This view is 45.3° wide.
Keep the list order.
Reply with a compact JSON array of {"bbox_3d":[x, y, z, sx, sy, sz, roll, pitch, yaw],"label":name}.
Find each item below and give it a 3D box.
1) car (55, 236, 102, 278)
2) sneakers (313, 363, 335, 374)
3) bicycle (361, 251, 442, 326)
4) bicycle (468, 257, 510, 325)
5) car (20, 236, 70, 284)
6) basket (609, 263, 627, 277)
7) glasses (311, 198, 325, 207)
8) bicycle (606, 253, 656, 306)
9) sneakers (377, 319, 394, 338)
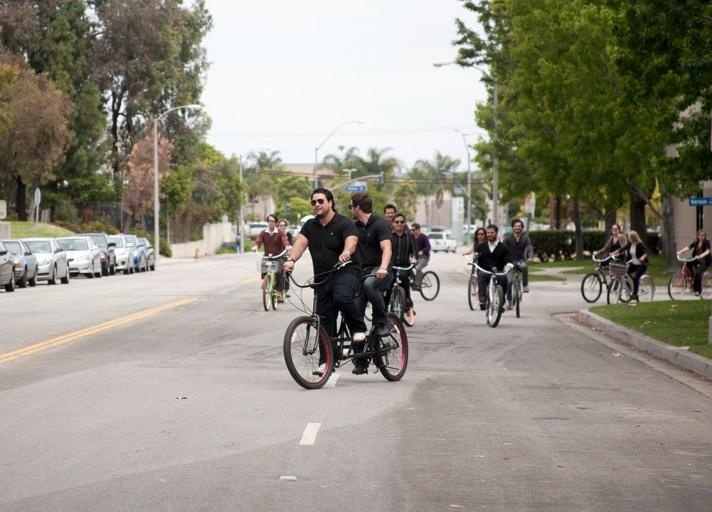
[{"bbox_3d":[-11.825,0.049,36.877,1.038,1.043,2.301,-1,-7,1],"label":"car"},{"bbox_3d":[-0.415,1.476,11.040,0.297,0.148,0.066,1,0,-36],"label":"sneakers"},{"bbox_3d":[0.987,0.849,19.976,1.059,1.481,2.258,-7,0,19],"label":"bicycle"},{"bbox_3d":[3.040,0.874,18.889,0.762,0.977,1.562,2,-1,-7],"label":"bicycle"},{"bbox_3d":[-11.880,0.145,32.810,1.081,0.974,2.130,-2,-7,2],"label":"car"},{"bbox_3d":[7.109,0.397,23.041,0.263,0.284,0.615,0,-1,-15],"label":"basket"},{"bbox_3d":[-0.519,-0.672,10.964,0.204,0.081,0.209,0,-1,22],"label":"glasses"},{"bbox_3d":[7.572,0.834,23.583,1.588,1.057,0.770,6,-6,-44],"label":"bicycle"},{"bbox_3d":[0.391,0.978,11.488,0.212,0.114,0.399,1,1,1],"label":"sneakers"}]
